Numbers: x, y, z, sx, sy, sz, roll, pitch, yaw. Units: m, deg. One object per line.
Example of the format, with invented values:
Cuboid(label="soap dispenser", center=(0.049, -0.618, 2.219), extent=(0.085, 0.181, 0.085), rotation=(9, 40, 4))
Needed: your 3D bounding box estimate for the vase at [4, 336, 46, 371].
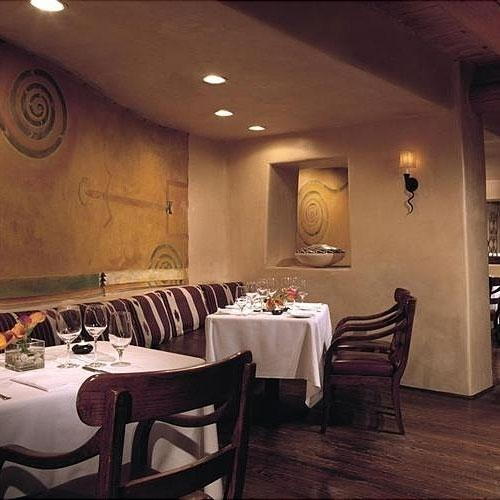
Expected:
Cuboid(label="vase", center=(-0.754, 0.351, 1.448), extent=(0.107, 0.113, 0.114), rotation=(-5, -8, 44))

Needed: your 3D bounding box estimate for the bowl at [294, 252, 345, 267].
Cuboid(label="bowl", center=(0.713, 0.102, 4.370), extent=(0.440, 0.155, 0.272), rotation=(0, -1, 32))

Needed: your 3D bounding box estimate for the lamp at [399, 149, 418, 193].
Cuboid(label="lamp", center=(1.348, -0.648, 3.621), extent=(0.150, 0.361, 0.089), rotation=(1, 1, 28))

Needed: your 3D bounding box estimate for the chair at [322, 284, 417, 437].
Cuboid(label="chair", center=(0.820, 0.714, 3.214), extent=(0.803, 1.285, 0.915), rotation=(1, -2, 9))
